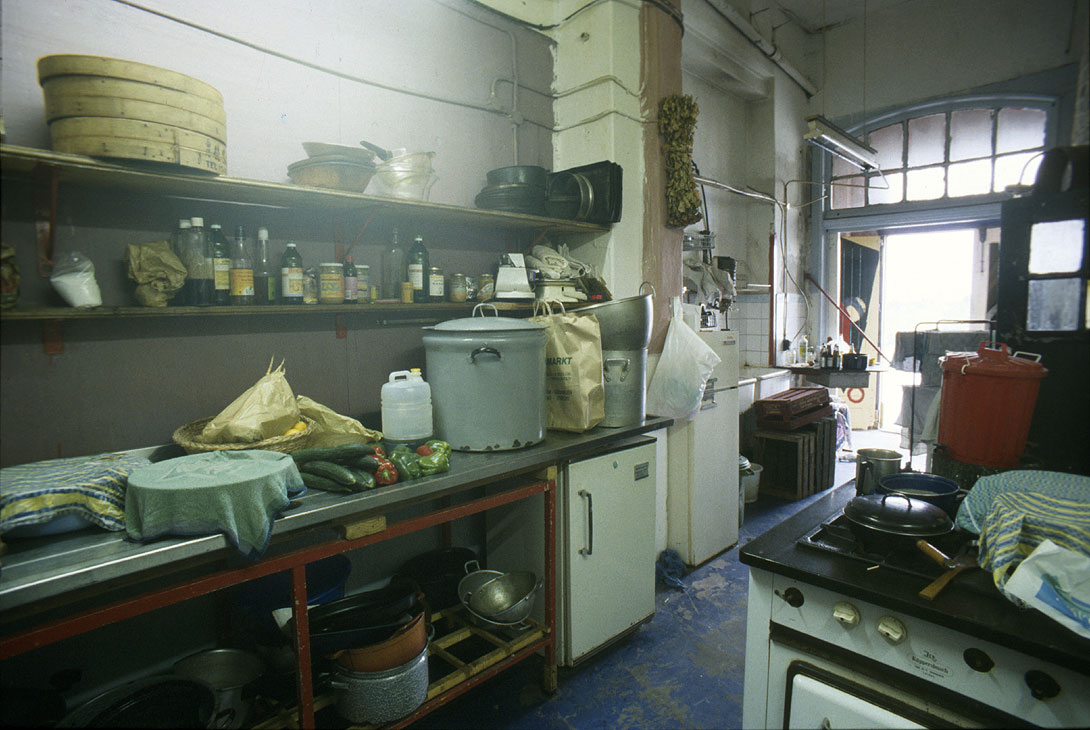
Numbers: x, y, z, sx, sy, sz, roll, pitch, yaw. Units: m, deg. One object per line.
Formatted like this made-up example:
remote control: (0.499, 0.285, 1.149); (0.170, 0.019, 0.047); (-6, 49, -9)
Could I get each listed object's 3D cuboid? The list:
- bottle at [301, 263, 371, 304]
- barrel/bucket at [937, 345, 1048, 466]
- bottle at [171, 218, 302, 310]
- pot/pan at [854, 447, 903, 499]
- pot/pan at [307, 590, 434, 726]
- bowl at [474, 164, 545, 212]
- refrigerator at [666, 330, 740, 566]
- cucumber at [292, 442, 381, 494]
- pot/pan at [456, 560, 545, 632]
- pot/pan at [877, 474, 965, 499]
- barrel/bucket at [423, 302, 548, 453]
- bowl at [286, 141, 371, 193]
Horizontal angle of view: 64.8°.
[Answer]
bottle: (-1.027, -0.389, 4.167); (0.291, 0.183, 0.172); (-2, 6, -17)
barrel/bucket: (2.063, 0.160, 4.083); (0.525, 0.596, 0.506); (2, 5, 0)
bottle: (-1.464, -0.482, 4.004); (0.542, 0.398, 0.218); (-6, 10, -26)
pot/pan: (1.503, 0.477, 3.905); (0.279, 0.175, 0.175); (-12, 13, -39)
pot/pan: (-0.860, 1.284, 3.949); (0.582, 0.404, 0.595); (-3, -8, -35)
bowl: (-0.208, -0.960, 4.778); (0.307, 0.150, 0.267); (5, 7, 39)
refrigerator: (1.011, 0.507, 5.411); (0.213, 1.430, 0.650); (7, 12, 41)
cucumber: (-0.926, 0.456, 3.716); (0.268, 0.095, 0.220); (9, 42, -3)
pot/pan: (-0.261, 1.091, 4.242); (0.311, 0.198, 0.369); (-5, 8, -30)
pot/pan: (1.570, 0.513, 3.598); (0.180, 0.064, 0.173); (-4, 8, -9)
barrel/bucket: (-0.270, 0.006, 4.312); (0.606, 0.646, 0.684); (7, 13, 38)
bowl: (-1.025, -0.928, 4.043); (0.240, 0.144, 0.316); (2, 2, 30)
